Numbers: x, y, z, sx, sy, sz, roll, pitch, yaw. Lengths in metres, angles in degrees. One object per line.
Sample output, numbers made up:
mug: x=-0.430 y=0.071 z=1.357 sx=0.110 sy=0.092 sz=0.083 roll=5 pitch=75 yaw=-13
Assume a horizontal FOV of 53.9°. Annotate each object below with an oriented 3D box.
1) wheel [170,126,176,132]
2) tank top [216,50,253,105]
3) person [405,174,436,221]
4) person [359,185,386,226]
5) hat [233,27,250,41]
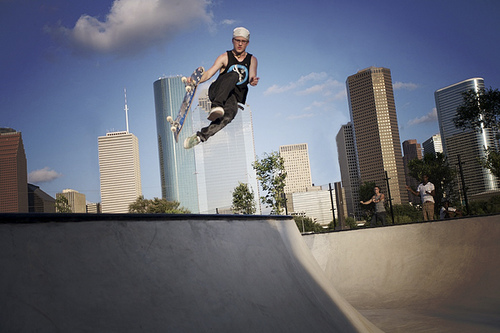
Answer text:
wheel: x=-3.037 y=-1.499 z=19.562 sx=0.196 sy=0.221 sz=0.132 roll=12 pitch=3 yaw=8
tank top: x=-0.316 y=-2.110 z=11.306 sx=0.665 sy=1.242 sz=0.983 roll=8 pitch=1 yaw=-4
person: x=3.771 y=0.642 z=10.555 sx=0.445 sy=1.028 sz=0.935 roll=9 pitch=1 yaw=21
person: x=2.839 y=1.014 z=11.183 sx=0.515 sy=1.128 sz=0.469 roll=-9 pitch=-10 yaw=40
hat: x=-0.168 y=-3.109 z=11.357 sx=0.342 sy=0.256 sz=0.601 roll=9 pitch=1 yaw=-7
